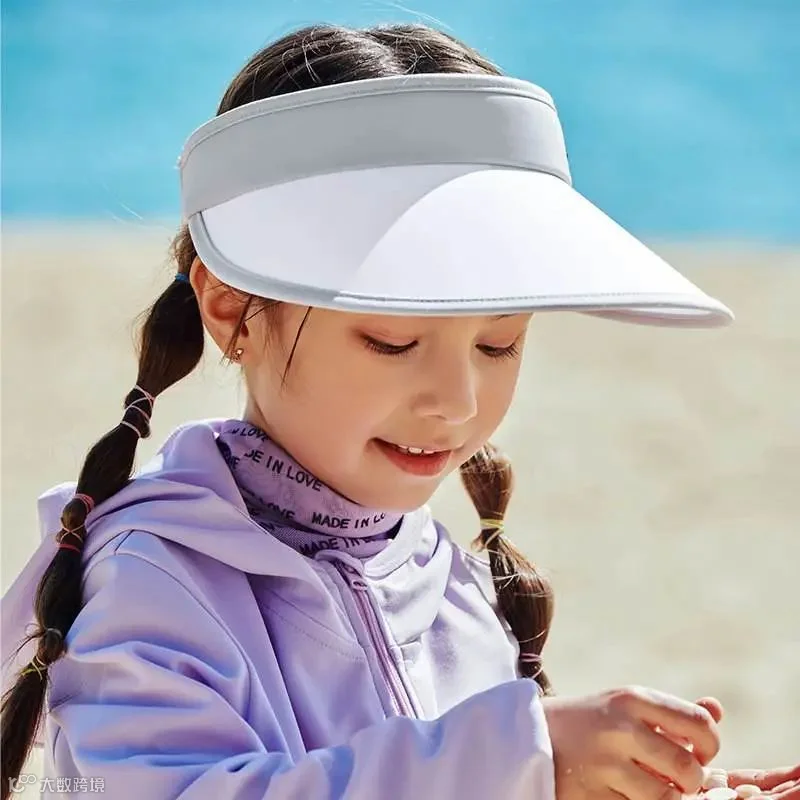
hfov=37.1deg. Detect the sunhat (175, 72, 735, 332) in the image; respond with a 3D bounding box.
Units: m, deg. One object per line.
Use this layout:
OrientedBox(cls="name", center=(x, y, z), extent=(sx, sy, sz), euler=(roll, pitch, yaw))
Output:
OrientedBox(cls="sunhat", center=(0.066, -0.281, 1.454), extent=(0.756, 0.224, 0.564), euler=(19, 25, 37))
